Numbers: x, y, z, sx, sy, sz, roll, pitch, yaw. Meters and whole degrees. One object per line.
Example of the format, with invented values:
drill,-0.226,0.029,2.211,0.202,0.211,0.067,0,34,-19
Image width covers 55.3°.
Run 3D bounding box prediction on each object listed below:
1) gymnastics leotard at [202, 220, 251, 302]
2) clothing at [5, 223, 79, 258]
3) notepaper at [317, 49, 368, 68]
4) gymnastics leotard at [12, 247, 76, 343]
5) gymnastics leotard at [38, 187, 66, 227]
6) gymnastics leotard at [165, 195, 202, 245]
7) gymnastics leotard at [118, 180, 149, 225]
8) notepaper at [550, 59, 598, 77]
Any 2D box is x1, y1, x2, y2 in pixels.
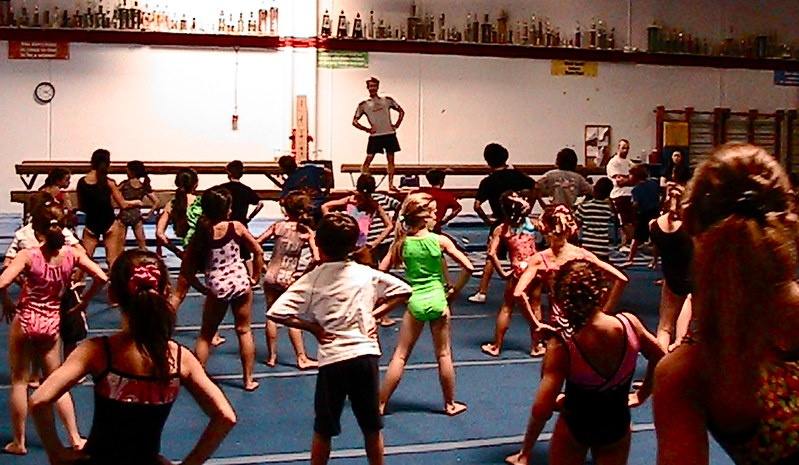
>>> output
gymnastics leotard,-2.057,0.453,9.478,0.367,0.888,0.460,16,6,13
clothing,-4.232,0.112,9.054,0.539,0.502,0.196,1,9,-18
notepaper,-1.469,-4.464,19.850,1.331,0.453,0.152,-3,10,-15
gymnastics leotard,-3.973,0.729,8.555,0.469,1.096,0.366,7,-7,-43
gymnastics leotard,-4.284,-0.311,9.338,0.374,0.578,0.180,1,1,29
gymnastics leotard,-2.820,-0.178,10.343,0.562,0.647,0.251,-10,-27,36
gymnastics leotard,-4.626,-0.526,13.067,0.429,0.823,0.307,2,-8,0
notepaper,4.879,-4.539,21.239,1.116,0.459,0.085,3,8,-10
